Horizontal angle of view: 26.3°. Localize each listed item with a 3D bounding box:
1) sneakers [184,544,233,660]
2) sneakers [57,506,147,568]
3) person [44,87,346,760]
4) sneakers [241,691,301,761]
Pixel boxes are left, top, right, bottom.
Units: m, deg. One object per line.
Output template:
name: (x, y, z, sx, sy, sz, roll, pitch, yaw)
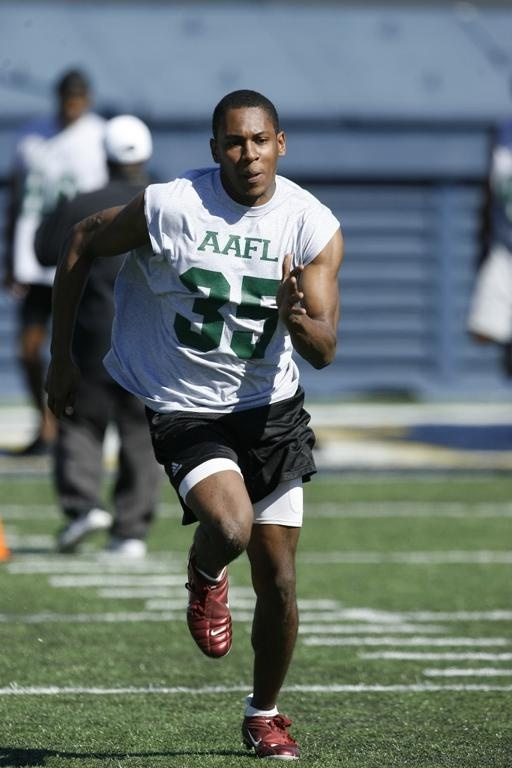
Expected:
sneakers: (-0.124, 0.557, 2.818, 0.106, 0.269, 0.115, -6, 0, 1)
sneakers: (-0.800, 0.759, 5.471, 0.575, 0.177, 0.246, 16, 18, 14)
person: (-0.121, 0.100, 2.868, 0.579, 1.688, 0.808, -2, 14, -30)
sneakers: (0.034, 0.897, 2.841, 0.073, 0.086, 0.191, 3, -1, -27)
